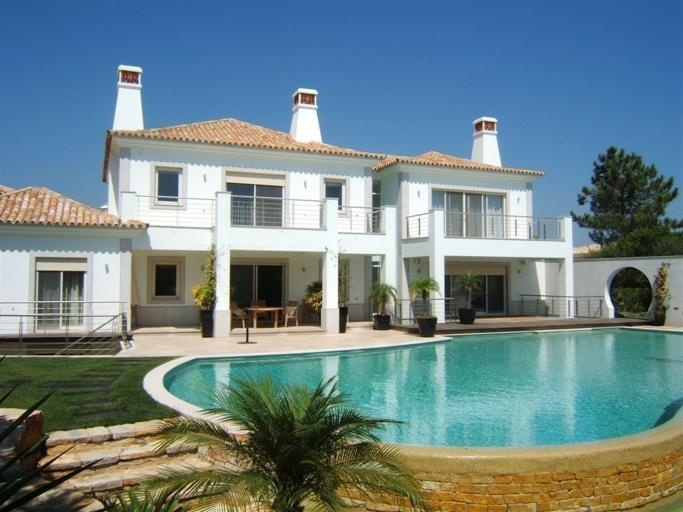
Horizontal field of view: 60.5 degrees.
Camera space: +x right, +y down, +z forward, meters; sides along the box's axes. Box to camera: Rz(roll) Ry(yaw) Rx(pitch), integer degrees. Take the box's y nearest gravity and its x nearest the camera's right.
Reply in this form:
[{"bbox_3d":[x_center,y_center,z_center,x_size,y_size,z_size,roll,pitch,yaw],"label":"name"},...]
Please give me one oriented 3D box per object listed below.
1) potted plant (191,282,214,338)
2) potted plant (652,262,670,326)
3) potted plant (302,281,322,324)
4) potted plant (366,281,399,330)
[{"bbox_3d":[-4.689,1.916,20.088,0.503,1.815,0.850,2,-5,-34],"label":"potted plant"},{"bbox_3d":[13.501,1.651,24.702,0.687,2.616,0.416,-3,-5,34],"label":"potted plant"},{"bbox_3d":[-1.150,1.849,23.263,0.703,1.656,2.081,0,-4,-4],"label":"potted plant"},{"bbox_3d":[1.508,2.042,22.903,1.594,2.247,1.540,2,-6,-12],"label":"potted plant"}]
